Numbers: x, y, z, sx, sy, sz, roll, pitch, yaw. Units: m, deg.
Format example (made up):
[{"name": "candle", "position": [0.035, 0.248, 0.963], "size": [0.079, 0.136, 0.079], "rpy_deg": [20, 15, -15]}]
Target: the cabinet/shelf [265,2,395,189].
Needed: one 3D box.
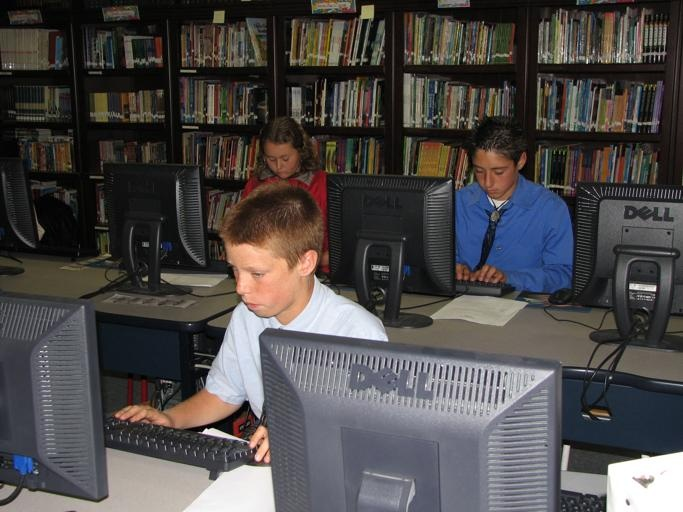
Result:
[{"name": "cabinet/shelf", "position": [-0.015, -1.189, 4.690], "size": [0.822, 1.728, 1.214], "rpy_deg": [4, 13, 9]}]

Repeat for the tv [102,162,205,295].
[{"name": "tv", "position": [-0.814, -0.121, 2.563], "size": [0.490, 0.555, 0.180], "rpy_deg": [5, 20, 13]}]

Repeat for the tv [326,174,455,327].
[{"name": "tv", "position": [0.177, -0.037, 2.142], "size": [0.462, 0.516, 0.183], "rpy_deg": [6, 23, 20]}]

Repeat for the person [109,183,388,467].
[{"name": "person", "position": [-0.213, 0.226, 1.513], "size": [0.727, 0.728, 0.478], "rpy_deg": [5, 14, 30]}]

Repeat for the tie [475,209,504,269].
[{"name": "tie", "position": [0.732, -0.101, 2.968], "size": [0.080, 0.393, 0.097], "rpy_deg": [9, 9, 1]}]
